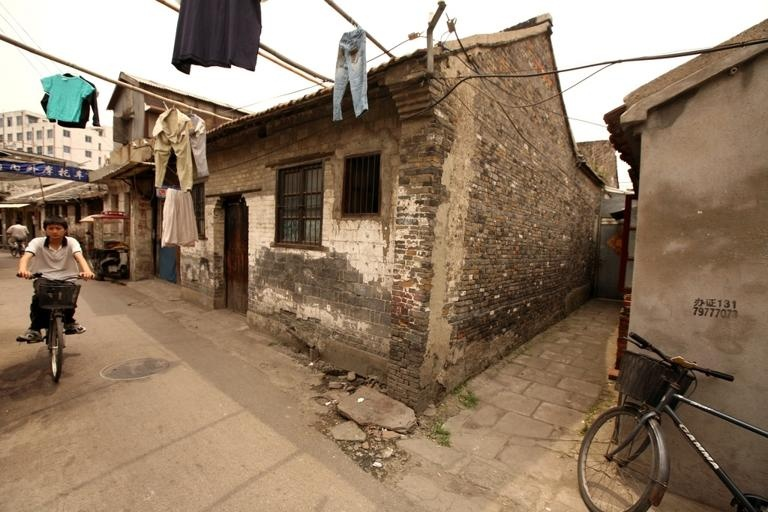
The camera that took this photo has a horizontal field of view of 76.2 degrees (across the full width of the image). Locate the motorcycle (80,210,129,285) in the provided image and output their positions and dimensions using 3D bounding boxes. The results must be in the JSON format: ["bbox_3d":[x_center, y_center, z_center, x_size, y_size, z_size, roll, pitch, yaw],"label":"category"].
[{"bbox_3d":[-9.585,-0.406,16.218,1.650,2.301,1.696,8,-1,-19],"label":"motorcycle"}]

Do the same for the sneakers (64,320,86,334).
[{"bbox_3d":[-5.374,1.290,8.632,0.163,0.190,0.411,10,4,20],"label":"sneakers"}]

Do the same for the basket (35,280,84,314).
[{"bbox_3d":[-5.470,0.686,8.264,0.683,0.470,0.531,1,1,-38],"label":"basket"}]

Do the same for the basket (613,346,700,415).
[{"bbox_3d":[3.474,1.789,6.903,0.632,0.556,0.852,32,-21,13],"label":"basket"}]

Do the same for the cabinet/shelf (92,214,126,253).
[{"bbox_3d":[-9.175,-0.839,16.339,0.863,1.211,0.758,-1,6,-45],"label":"cabinet/shelf"}]

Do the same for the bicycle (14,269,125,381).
[{"bbox_3d":[-5.484,1.170,8.232,0.682,1.791,0.912,-4,7,-40],"label":"bicycle"}]
